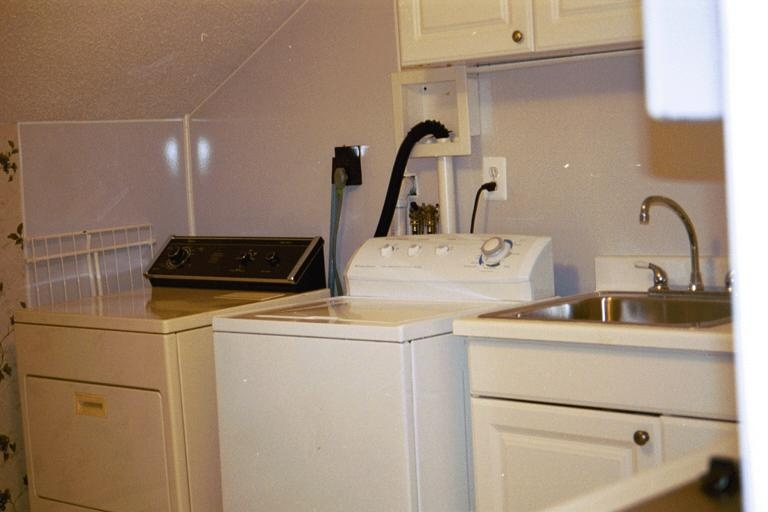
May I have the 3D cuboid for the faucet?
[{"bbox_3d":[0.821,-0.044,1.863,0.152,0.265,0.370,2,3,25],"label":"faucet"}]

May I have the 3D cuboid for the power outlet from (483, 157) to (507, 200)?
[{"bbox_3d":[0.390,-0.283,2.344,0.078,0.138,0.015,4,39,19],"label":"power outlet"}]
